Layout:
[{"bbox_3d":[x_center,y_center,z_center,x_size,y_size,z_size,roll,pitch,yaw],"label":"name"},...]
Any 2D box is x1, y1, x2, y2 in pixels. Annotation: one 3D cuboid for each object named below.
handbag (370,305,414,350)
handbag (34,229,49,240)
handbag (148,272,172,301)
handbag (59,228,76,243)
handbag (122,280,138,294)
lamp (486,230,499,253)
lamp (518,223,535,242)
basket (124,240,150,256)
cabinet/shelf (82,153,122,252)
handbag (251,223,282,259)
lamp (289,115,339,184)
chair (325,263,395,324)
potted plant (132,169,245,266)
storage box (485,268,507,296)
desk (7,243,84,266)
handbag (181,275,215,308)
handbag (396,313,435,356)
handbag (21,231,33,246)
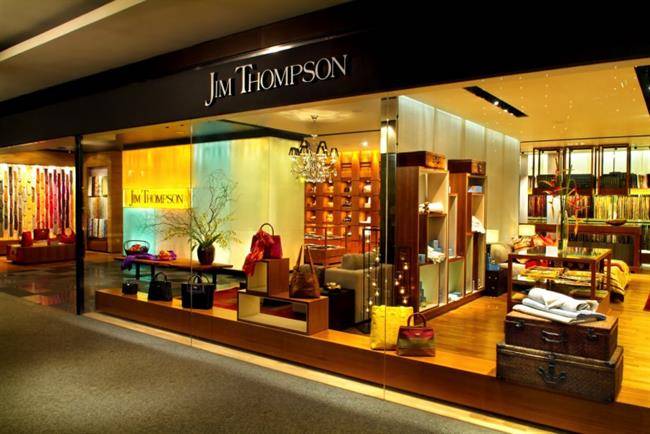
[{"bbox_3d":[0.804,1.331,5.292,0.569,0.448,0.198,1,-3,0],"label":"handbag"},{"bbox_3d":[-8.477,0.510,13.270,0.446,0.372,0.313,2,3,22],"label":"handbag"},{"bbox_3d":[-2.691,1.151,7.275,0.453,0.425,0.159,-2,-13,11],"label":"handbag"},{"bbox_3d":[-7.744,0.563,13.308,0.397,0.342,0.770,-7,13,-31],"label":"handbag"},{"bbox_3d":[-3.333,1.200,7.611,0.254,0.221,0.130,0,-12,3],"label":"handbag"},{"bbox_3d":[3.239,0.449,8.602,0.221,0.398,0.143,4,12,20],"label":"lamp"},{"bbox_3d":[3.796,0.293,8.305,0.195,0.318,0.346,-8,11,-41],"label":"lamp"},{"bbox_3d":[-3.288,0.532,7.766,0.325,0.182,0.307,1,0,-27],"label":"basket"},{"bbox_3d":[-3.961,-0.274,7.852,0.824,1.740,0.599,0,12,2],"label":"cabinet/shelf"},{"bbox_3d":[-0.827,0.356,6.254,0.543,0.472,0.271,0,-2,8],"label":"handbag"},{"bbox_3d":[-0.284,-1.324,10.253,1.152,1.340,1.082,1,1,-1],"label":"lamp"},{"bbox_3d":[0.444,1.043,6.511,0.907,0.624,0.860,-2,3,-43],"label":"chair"},{"bbox_3d":[-2.352,0.136,7.657,1.596,1.290,1.479,-1,-6,-19],"label":"potted plant"},{"bbox_3d":[3.157,1.210,8.216,0.314,0.344,0.563,-1,0,33],"label":"storage box"},{"bbox_3d":[-8.199,1.056,12.817,1.716,0.598,0.687,-5,12,-23],"label":"desk"},{"bbox_3d":[-2.033,1.145,6.834,0.188,0.451,0.550,-8,-16,43],"label":"handbag"},{"bbox_3d":[1.060,1.401,5.244,0.523,0.503,0.236,1,-8,6],"label":"handbag"},{"bbox_3d":[-8.522,0.605,12.666,0.299,0.395,0.435,-8,14,-34],"label":"handbag"}]
